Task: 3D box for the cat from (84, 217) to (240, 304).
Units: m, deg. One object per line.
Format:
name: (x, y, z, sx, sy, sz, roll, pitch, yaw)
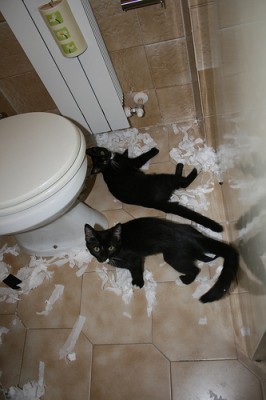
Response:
cat: (0.119, 0.188, 1.041, 0.429, 0.247, 0.268, 1, 56, 29)
